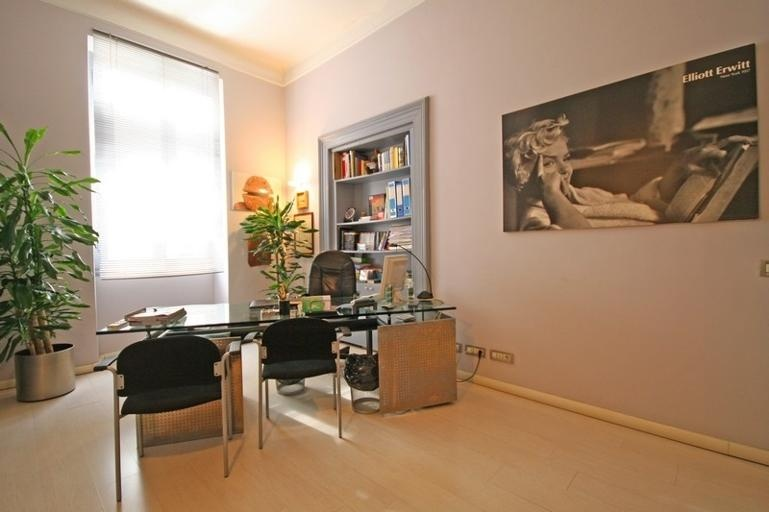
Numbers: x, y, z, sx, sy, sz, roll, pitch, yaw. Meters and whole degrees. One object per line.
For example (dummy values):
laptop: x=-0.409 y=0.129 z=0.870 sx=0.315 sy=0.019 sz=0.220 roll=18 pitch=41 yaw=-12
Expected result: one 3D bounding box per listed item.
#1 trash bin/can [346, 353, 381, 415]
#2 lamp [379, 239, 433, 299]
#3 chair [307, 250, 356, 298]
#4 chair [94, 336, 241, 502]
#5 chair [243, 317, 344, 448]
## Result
trash bin/can: x=-0.215 y=1.257 z=5.016 sx=0.426 sy=0.517 sz=0.486 roll=-1 pitch=-9 yaw=-3
lamp: x=0.384 y=0.105 z=5.816 sx=0.695 sy=0.844 sz=0.374 roll=1 pitch=1 yaw=-17
chair: x=-0.547 y=0.207 z=5.983 sx=0.453 sy=0.654 sz=0.565 roll=0 pitch=-1 yaw=-3
chair: x=-1.853 y=1.269 z=4.476 sx=1.221 sy=1.235 sz=1.200 roll=-1 pitch=4 yaw=21
chair: x=-0.759 y=1.121 z=4.896 sx=1.071 sy=1.520 sz=1.024 roll=0 pitch=-3 yaw=-14
